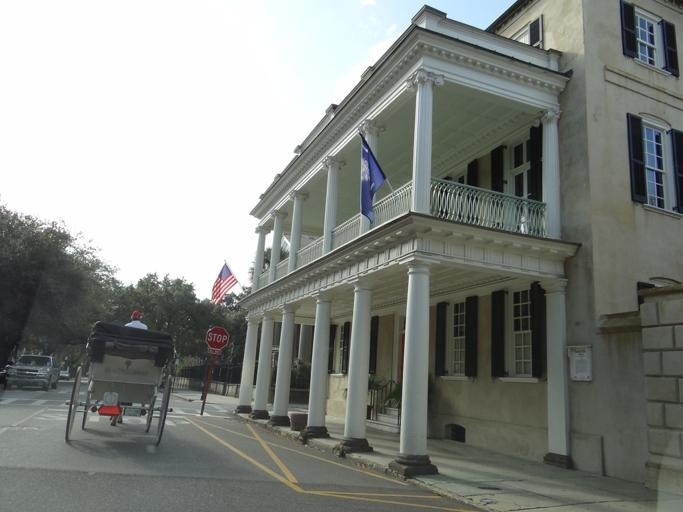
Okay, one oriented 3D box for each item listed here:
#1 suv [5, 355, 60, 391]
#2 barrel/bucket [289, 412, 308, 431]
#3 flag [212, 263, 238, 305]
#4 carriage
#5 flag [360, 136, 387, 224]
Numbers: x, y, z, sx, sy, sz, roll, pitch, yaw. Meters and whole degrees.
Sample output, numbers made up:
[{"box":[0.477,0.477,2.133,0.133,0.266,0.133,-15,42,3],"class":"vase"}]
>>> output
[{"box":[-16.741,6.394,29.513,1.765,1.861,4.451,2,-6,-19],"class":"suv"},{"box":[-1.531,5.860,19.223,0.570,0.489,0.622,1,-16,0],"class":"barrel/bucket"},{"box":[-6.211,1.377,28.608,1.150,2.134,1.548,2,-11,-14],"class":"flag"},{"box":[-6.128,3.558,15.087,2.144,3.326,3.886,10,-12,-20],"class":"carriage"},{"box":[0.884,-2.531,16.458,0.612,2.967,1.256,-1,-10,2],"class":"flag"}]
